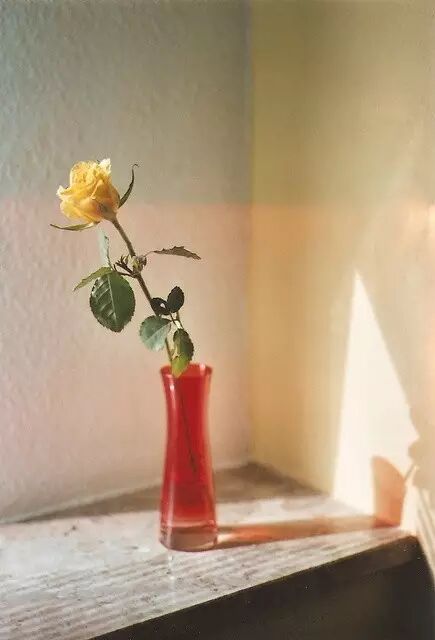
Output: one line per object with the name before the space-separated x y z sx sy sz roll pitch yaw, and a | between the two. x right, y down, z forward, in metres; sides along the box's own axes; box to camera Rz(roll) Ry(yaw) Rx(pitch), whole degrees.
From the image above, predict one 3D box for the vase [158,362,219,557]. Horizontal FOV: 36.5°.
vase | -0.036 0.201 0.936 0.089 0.273 0.099 2 3 -2
